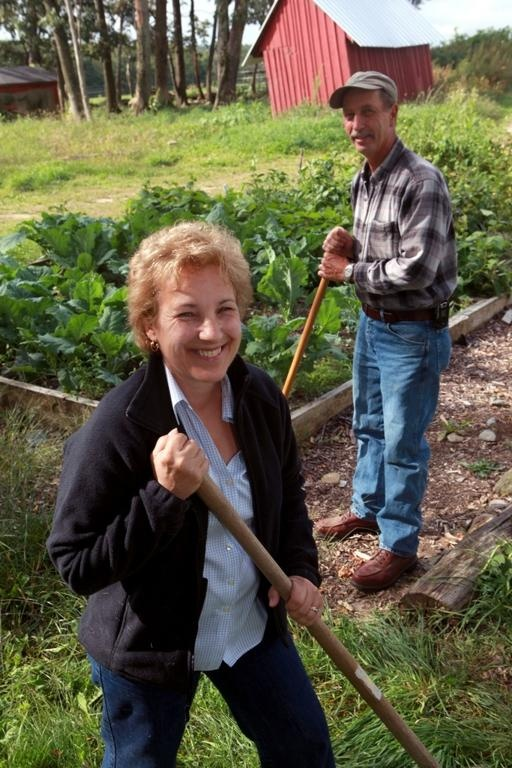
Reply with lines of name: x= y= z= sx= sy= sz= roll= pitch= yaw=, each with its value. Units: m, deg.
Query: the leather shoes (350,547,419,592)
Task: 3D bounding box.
leather shoes: x=0.672 y=0.969 z=3.326 sx=0.401 sy=0.178 sz=0.160 roll=-24 pitch=40 yaw=-23

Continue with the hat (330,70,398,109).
hat: x=0.552 y=-1.551 z=3.201 sx=0.319 sy=0.199 sz=0.408 roll=-4 pitch=17 yaw=0

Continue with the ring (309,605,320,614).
ring: x=0.164 y=0.616 z=1.686 sx=0.024 sy=0.007 sz=0.022 roll=21 pitch=30 yaw=-13

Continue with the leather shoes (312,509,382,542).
leather shoes: x=0.531 y=0.842 z=3.753 sx=0.423 sy=0.170 sz=0.146 roll=3 pitch=19 yaw=-4
